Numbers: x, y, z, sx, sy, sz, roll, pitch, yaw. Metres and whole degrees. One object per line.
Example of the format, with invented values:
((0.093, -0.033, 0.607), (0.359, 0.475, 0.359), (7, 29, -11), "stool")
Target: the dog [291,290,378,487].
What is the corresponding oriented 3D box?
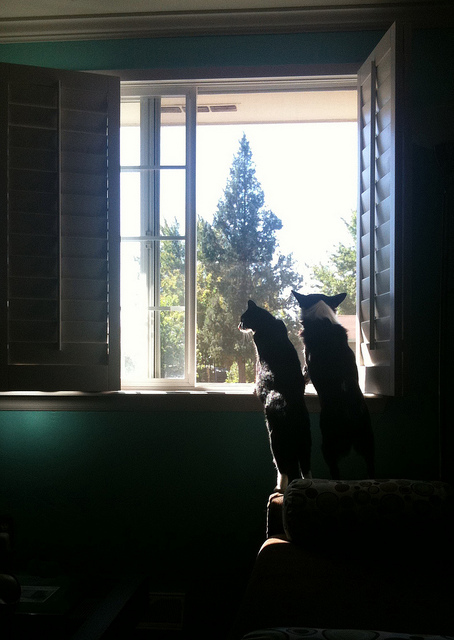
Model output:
((0.365, 0.227, 2.016), (0.229, 0.649, 0.250), (-4, 0, -1), "dog")
